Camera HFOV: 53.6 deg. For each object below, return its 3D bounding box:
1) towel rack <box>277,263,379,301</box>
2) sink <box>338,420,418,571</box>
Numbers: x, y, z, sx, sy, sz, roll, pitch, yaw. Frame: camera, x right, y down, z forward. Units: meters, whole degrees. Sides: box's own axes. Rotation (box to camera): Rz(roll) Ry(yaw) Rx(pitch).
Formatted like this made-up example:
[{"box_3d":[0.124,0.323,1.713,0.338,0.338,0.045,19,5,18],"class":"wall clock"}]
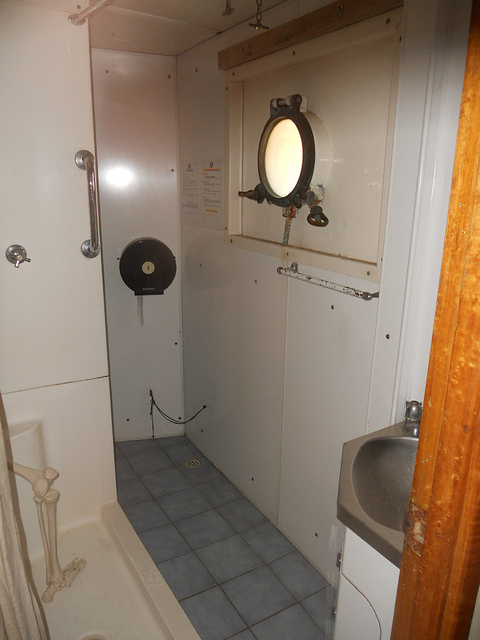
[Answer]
[{"box_3d":[0.293,-0.143,1.705,0.047,0.080,0.552,-7,16,-28],"class":"towel rack"},{"box_3d":[0.310,0.450,1.177,0.234,0.089,0.258,27,25,31],"class":"sink"}]
